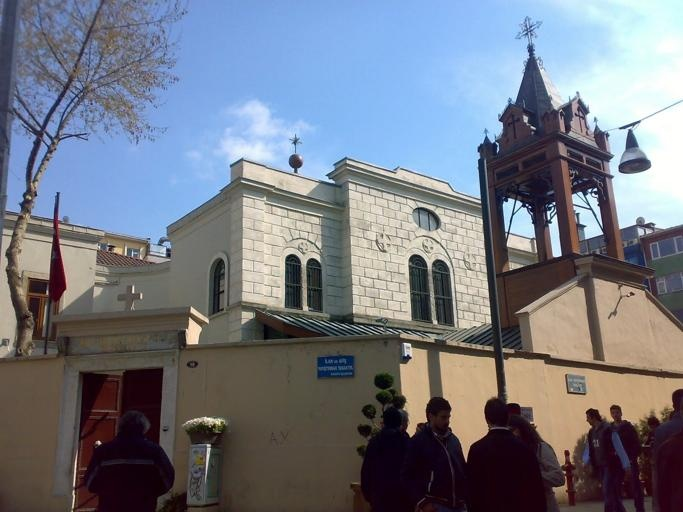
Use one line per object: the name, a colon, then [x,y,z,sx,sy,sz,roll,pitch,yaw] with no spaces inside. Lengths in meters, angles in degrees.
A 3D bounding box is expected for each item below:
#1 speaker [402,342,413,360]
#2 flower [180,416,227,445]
speaker: [1.489,2.141,14.194,0.130,0.367,0.392,-15,-22,37]
flower: [-3.024,3.838,13.816,0.596,0.502,0.814,-24,-34,39]
